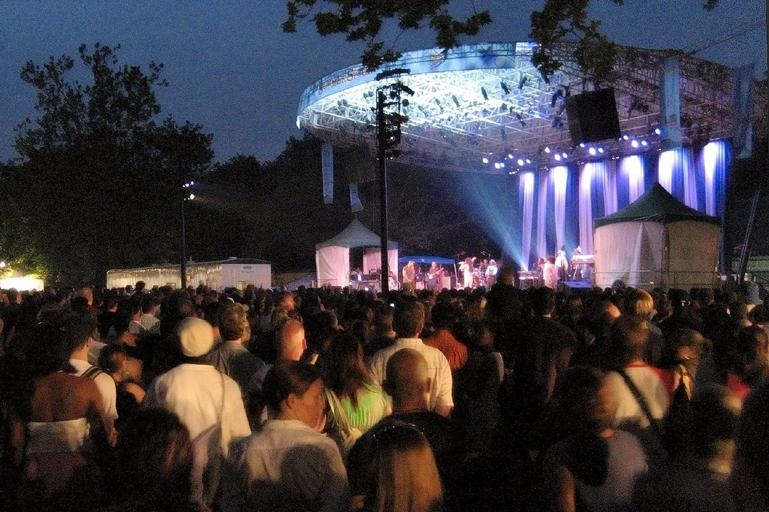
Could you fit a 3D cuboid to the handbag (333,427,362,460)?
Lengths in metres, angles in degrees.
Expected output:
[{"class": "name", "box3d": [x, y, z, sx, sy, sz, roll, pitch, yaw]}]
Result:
[{"class": "handbag", "box3d": [-0.289, 1.509, 5.676, 0.165, 0.196, 0.208, 5, -32, -35]}]

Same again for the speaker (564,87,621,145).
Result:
[{"class": "speaker", "box3d": [5.701, -3.739, 19.217, 1.597, 1.630, 1.576, -11, 21, 10]}]
